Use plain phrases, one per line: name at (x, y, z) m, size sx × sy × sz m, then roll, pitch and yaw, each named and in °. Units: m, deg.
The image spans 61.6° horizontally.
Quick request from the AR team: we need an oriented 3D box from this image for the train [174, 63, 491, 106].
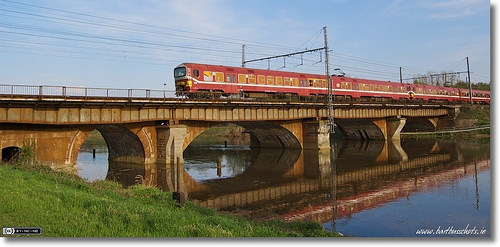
train at (19.131, -5.805, 79.340) m, size 66.448 × 4.176 × 7.404 m, roll 2°, pitch -9°, yaw -22°
